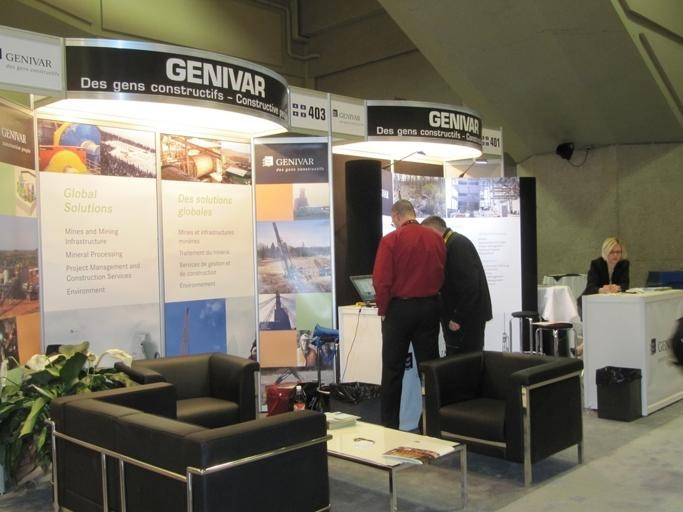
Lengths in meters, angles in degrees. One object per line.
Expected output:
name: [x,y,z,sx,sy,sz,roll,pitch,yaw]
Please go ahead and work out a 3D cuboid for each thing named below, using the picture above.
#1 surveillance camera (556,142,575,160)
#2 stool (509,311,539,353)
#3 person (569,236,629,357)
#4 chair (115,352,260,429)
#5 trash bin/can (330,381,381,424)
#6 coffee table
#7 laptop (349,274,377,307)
surveillance camera: [3.900,-1.836,10.097,0.317,0.313,0.298,-2,2,28]
stool: [2.227,0.931,6.998,0.291,0.540,0.493,-2,2,19]
person: [3.038,0.612,6.799,0.516,1.675,1.071,8,11,24]
chair: [-1.197,1.123,4.869,0.819,0.604,0.587,-1,0,-43]
trash bin/can: [0.129,1.275,5.206,0.534,0.417,0.300,-3,-6,35]
coffee table: [0.291,1.474,3.960,1.013,0.458,0.739,-2,1,28]
laptop: [0.238,0.328,5.739,0.229,0.210,0.321,-32,-15,30]
